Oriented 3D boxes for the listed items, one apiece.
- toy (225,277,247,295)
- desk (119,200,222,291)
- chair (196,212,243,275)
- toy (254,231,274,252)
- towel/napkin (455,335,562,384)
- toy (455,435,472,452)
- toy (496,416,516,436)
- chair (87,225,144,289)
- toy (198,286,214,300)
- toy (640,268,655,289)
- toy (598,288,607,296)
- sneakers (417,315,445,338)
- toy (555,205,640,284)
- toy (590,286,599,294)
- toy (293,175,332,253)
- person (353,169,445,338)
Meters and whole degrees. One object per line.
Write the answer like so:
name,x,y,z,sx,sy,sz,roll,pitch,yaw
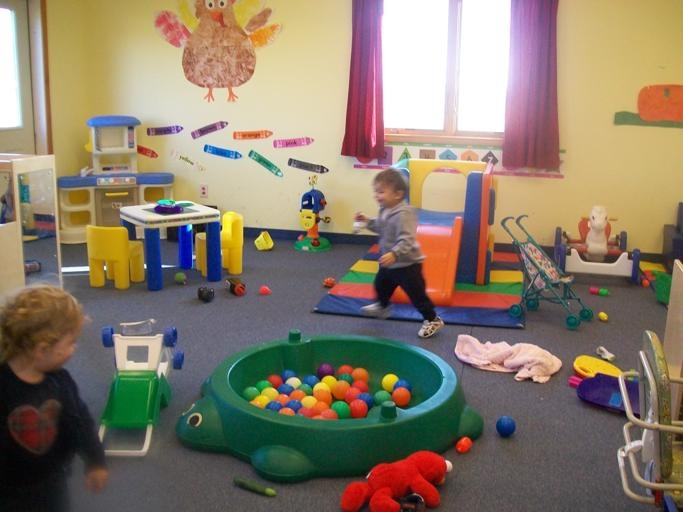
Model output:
toy,-0.916,0.255,4.760,0.159,0.115,0.232,-4,15,-12
desk,-1.588,-0.253,5.136,0.882,0.875,0.884,-7,16,-29
chair,-1.138,-0.118,5.313,0.432,0.483,0.432,2,7,27
toy,-0.879,-0.160,6.185,0.192,0.230,0.232,-5,2,-18
towel/napkin,1.061,0.652,3.476,0.388,0.099,0.316,8,11,21
toy,0.591,0.910,2.638,0.072,0.026,0.055,-35,53,-13
toy,0.845,0.860,2.787,0.092,0.097,0.135,5,16,22
chair,-2.023,-0.033,4.888,0.396,0.538,0.431,6,14,17
toy,-1.131,0.318,4.529,0.125,0.096,0.112,-4,15,-13
toy,2.905,0.195,5.176,0.094,0.112,0.395,4,16,20
toy,2.311,0.314,4.813,0.066,0.057,0.056,-2,-18,32
sneakers,0.638,0.509,3.933,0.251,0.113,0.091,-36,18,-32
toy,2.499,-0.150,5.421,0.642,0.601,0.872,1,8,11
toy,2.268,0.306,4.872,0.072,0.037,0.055,-3,9,-35
toy,-0.326,-0.500,6.199,0.399,0.781,0.529,-1,14,-1
person,0.404,-0.009,3.793,0.618,1.180,0.563,3,15,13
